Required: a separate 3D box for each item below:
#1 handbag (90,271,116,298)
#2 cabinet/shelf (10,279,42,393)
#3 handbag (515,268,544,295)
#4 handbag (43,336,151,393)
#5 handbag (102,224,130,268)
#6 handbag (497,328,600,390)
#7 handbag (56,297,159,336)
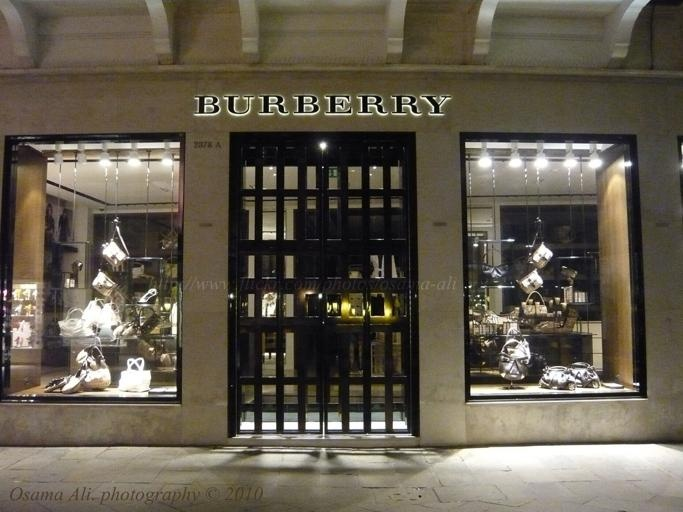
[{"bbox_3d":[-3.776,0.454,12.512,0.241,0.336,0.186,-31,16,33],"label":"handbag"},{"bbox_3d":[-4.814,1.233,12.104,0.277,1.693,0.587,-4,-10,20],"label":"cabinet/shelf"},{"bbox_3d":[2.997,0.389,12.678,0.350,0.250,0.194,-39,-1,3],"label":"handbag"},{"bbox_3d":[-3.671,1.660,12.006,1.516,0.868,0.563,-2,-10,12],"label":"handbag"},{"bbox_3d":[-3.652,-0.143,12.742,0.312,0.272,0.571,-34,32,-6],"label":"handbag"},{"bbox_3d":[3.254,1.683,12.555,1.484,1.132,0.715,-2,-7,4],"label":"handbag"},{"bbox_3d":[-3.765,0.987,12.722,1.983,0.796,0.605,2,-5,-7],"label":"handbag"}]
